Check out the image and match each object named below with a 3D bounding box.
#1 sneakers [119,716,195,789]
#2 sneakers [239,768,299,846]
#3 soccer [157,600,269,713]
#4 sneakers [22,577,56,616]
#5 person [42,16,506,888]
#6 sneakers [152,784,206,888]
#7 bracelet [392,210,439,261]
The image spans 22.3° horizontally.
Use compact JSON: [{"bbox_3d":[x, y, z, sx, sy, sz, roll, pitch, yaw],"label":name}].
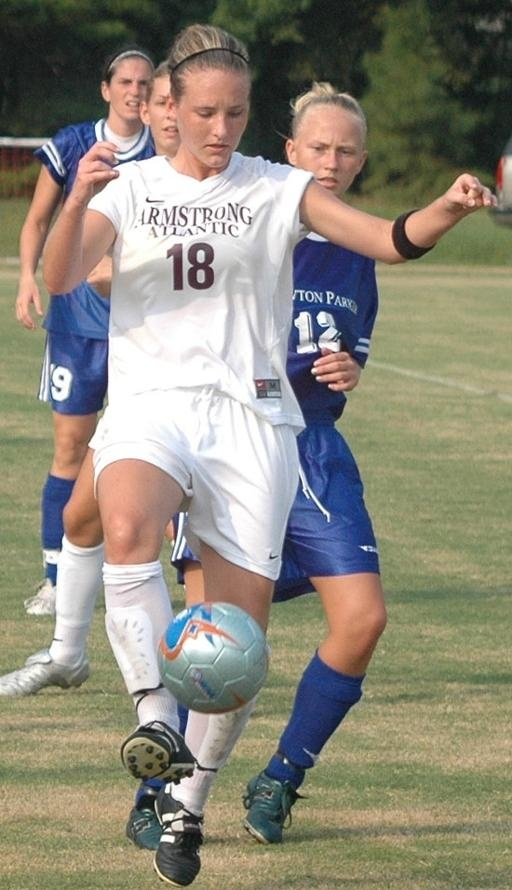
[{"bbox_3d":[-0.173,0.524,2.202,0.077,0.132,0.070,-12,55,11],"label":"sneakers"},{"bbox_3d":[0.023,0.789,2.855,0.071,0.082,0.175,43,7,-22],"label":"sneakers"},{"bbox_3d":[-0.086,0.386,2.335,0.205,0.207,0.194,-2,-3,9],"label":"soccer"},{"bbox_3d":[-0.774,0.558,4.635,0.131,0.156,0.063,12,-11,3],"label":"sneakers"},{"bbox_3d":[-0.080,0.008,2.547,0.762,1.704,0.621,-6,10,-36],"label":"person"},{"bbox_3d":[-0.149,0.756,2.503,0.068,0.080,0.195,30,10,-20],"label":"sneakers"},{"bbox_3d":[0.315,-0.404,2.575,0.102,0.070,0.094,17,59,-28],"label":"bracelet"}]
